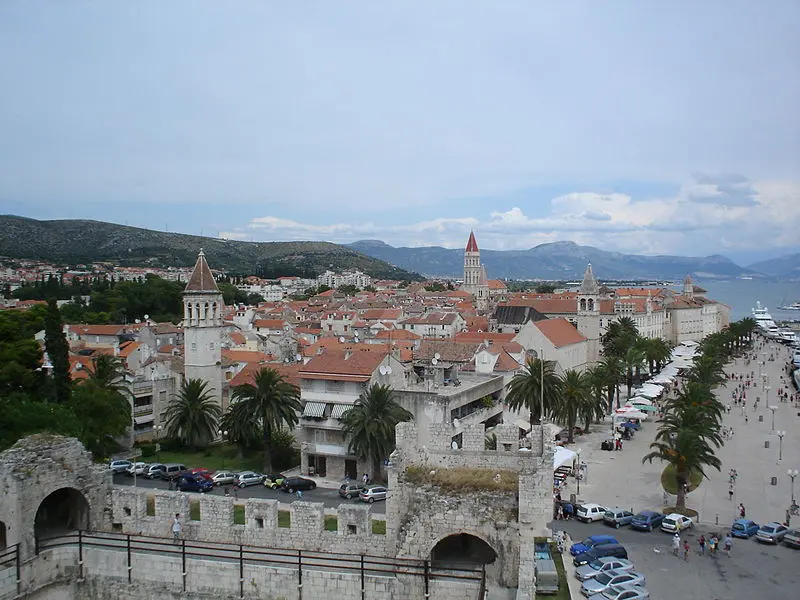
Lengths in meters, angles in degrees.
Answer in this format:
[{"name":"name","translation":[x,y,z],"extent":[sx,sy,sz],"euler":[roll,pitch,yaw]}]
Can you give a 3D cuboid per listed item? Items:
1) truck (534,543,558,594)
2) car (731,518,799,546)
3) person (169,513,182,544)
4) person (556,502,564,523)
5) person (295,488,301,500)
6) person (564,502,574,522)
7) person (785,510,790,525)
[{"name":"truck","translation":[8.901,16.556,47.301],"extent":[1.497,1.498,4.059],"euler":[1,1,3]},{"name":"car","translation":[25.003,16.076,53.497],"extent":[3.965,1.084,1.605],"euler":[3,4,25]},{"name":"person","translation":[-12.558,12.911,43.838],"extent":[0.603,1.453,1.069],"euler":[0,4,-16]},{"name":"person","translation":[12.013,15.761,57.545],"extent":[0.451,0.868,1.403],"euler":[2,4,12]},{"name":"person","translation":[-7.888,15.370,60.910],"extent":[0.361,0.918,0.380],"euler":[0,28,17]},{"name":"person","translation":[12.652,15.750,57.777],"extent":[0.868,0.910,0.770],"euler":[4,5,40]},{"name":"person","translation":[28.337,16.018,56.681],"extent":[0.337,1.170,0.702],"euler":[2,3,35]}]
